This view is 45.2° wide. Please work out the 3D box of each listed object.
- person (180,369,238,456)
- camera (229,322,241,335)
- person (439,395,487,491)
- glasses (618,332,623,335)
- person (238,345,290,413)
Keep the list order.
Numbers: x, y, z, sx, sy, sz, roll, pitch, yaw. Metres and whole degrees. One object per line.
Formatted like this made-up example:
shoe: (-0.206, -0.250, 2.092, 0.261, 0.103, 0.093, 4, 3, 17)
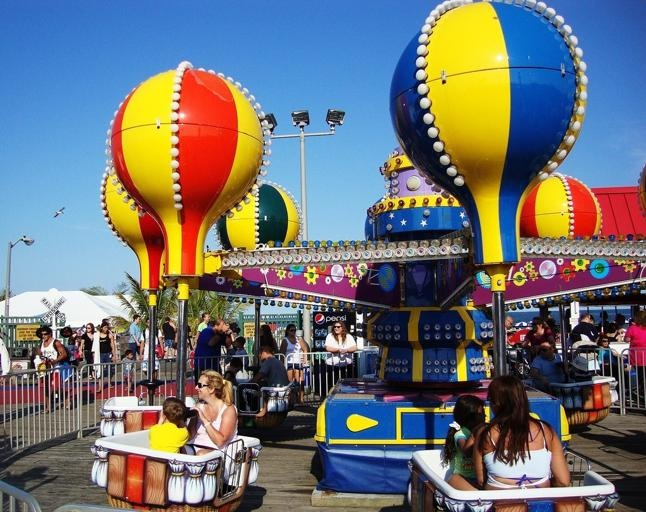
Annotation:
person: (-1.181, 1.655, 8.211, 0.556, 0.839, 0.721, -1, -5, 13)
camera: (-1.975, 1.680, 17.381, 0.171, 0.334, 0.433, -25, 5, -11)
person: (1.356, 1.743, 7.263, 0.451, 0.873, 0.394, 3, 4, 35)
glasses: (6.188, 1.624, 16.175, 0.048, 0.025, 0.055, 6, 10, 44)
person: (-0.896, 1.884, 11.716, 0.774, 0.995, 0.669, 1, -5, -13)
